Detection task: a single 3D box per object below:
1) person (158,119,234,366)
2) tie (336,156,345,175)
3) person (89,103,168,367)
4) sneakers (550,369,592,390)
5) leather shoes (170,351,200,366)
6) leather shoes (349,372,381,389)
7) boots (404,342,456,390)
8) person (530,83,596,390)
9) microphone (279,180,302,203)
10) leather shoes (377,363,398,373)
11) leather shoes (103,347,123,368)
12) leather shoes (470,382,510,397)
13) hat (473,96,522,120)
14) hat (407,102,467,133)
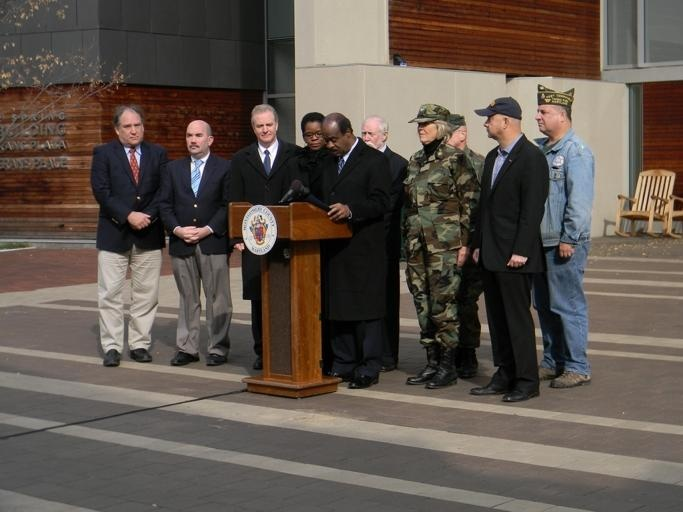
[{"bbox_3d":[-1.498,-0.145,7.661,0.710,2.473,0.595,-1,6,-13],"label":"person"},{"bbox_3d":[-0.009,-0.800,6.518,0.031,0.121,0.102,6,0,-31],"label":"tie"},{"bbox_3d":[-2.206,-0.244,7.835,0.769,2.687,0.891,-1,6,-18],"label":"person"},{"bbox_3d":[1.999,1.081,6.483,0.310,0.116,0.147,2,-1,-9],"label":"sneakers"},{"bbox_3d":[-1.609,1.059,7.662,0.116,0.113,0.306,-3,-7,27],"label":"leather shoes"},{"bbox_3d":[0.196,1.102,6.621,0.309,0.115,0.104,3,-2,-40],"label":"leather shoes"},{"bbox_3d":[0.852,0.998,6.653,0.594,0.391,0.234,6,-6,-41],"label":"boots"},{"bbox_3d":[1.944,-0.164,6.520,0.562,2.636,0.650,2,6,15],"label":"person"},{"bbox_3d":[-0.405,-0.520,6.001,0.114,0.247,0.084,37,6,-2],"label":"microphone"},{"bbox_3d":[0.422,1.063,7.091,0.196,0.081,0.264,-1,0,9],"label":"leather shoes"},{"bbox_3d":[-2.328,1.027,7.574,0.165,0.149,0.399,0,-6,-15],"label":"leather shoes"},{"bbox_3d":[1.264,1.140,6.407,0.363,0.127,0.115,1,-2,-4],"label":"leather shoes"},{"bbox_3d":[1.330,-1.239,6.269,0.342,0.130,0.208,3,8,9],"label":"hat"},{"bbox_3d":[0.923,-1.203,6.621,0.532,0.156,0.337,7,1,-12],"label":"hat"}]
